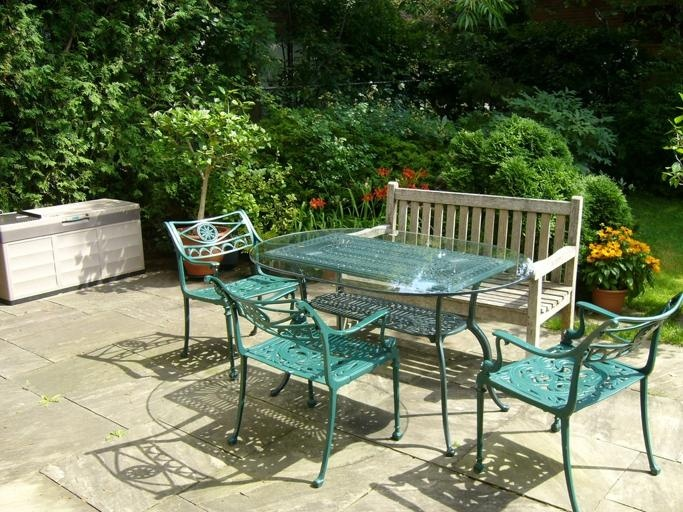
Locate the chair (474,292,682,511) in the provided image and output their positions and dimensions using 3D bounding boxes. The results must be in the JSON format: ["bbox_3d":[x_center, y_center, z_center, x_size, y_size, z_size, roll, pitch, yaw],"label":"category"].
[{"bbox_3d":[1.434,0.930,3.673,1.041,1.133,1.042,-17,26,-33],"label":"chair"}]

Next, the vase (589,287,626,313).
[{"bbox_3d":[2.480,0.401,5.632,0.341,0.169,0.278,-1,7,-6],"label":"vase"}]

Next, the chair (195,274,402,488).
[{"bbox_3d":[-0.199,0.652,3.681,0.869,1.122,0.915,13,24,41],"label":"chair"}]

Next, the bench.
[{"bbox_3d":[0.925,0.031,5.209,1.892,0.923,0.895,14,36,40],"label":"bench"}]
